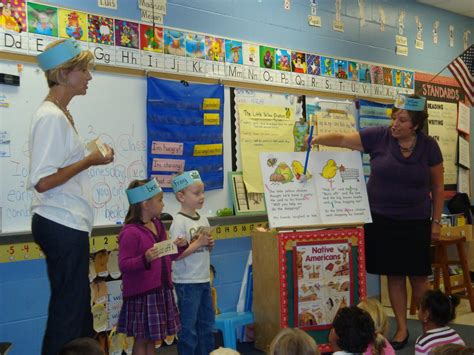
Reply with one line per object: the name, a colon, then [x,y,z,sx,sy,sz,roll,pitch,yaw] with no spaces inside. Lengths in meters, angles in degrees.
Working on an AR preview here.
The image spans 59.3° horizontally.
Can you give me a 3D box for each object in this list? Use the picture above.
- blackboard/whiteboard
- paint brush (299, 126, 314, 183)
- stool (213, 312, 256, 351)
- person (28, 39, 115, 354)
blackboard/whiteboard: [-1.018,-0.248,3.377,1.773,1.047,0.035,1,-5,-39]
paint brush: [0.568,-0.205,3.346,0.061,0.560,0.071,9,4,-7]
stool: [-0.003,1.247,3.498,0.348,0.279,0.358,-2,5,3]
person: [-0.953,0.063,2.377,0.418,1.737,0.416,1,3,42]
